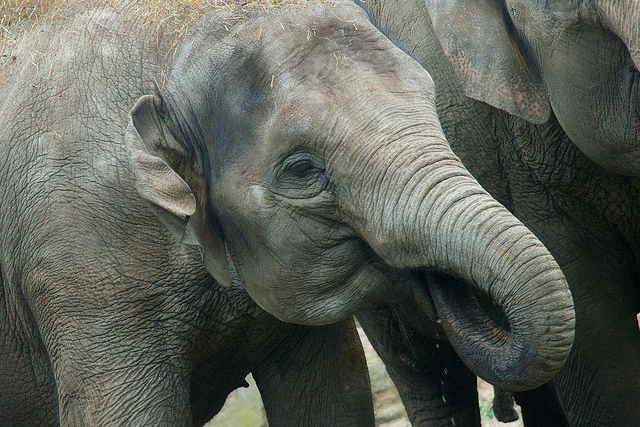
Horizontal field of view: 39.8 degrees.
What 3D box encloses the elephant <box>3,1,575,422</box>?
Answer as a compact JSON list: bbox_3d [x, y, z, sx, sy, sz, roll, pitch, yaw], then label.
[{"bbox_3d":[-0.262,0.066,3.134,1.925,1.352,1.328,-3,58,6],"label":"elephant"}]
